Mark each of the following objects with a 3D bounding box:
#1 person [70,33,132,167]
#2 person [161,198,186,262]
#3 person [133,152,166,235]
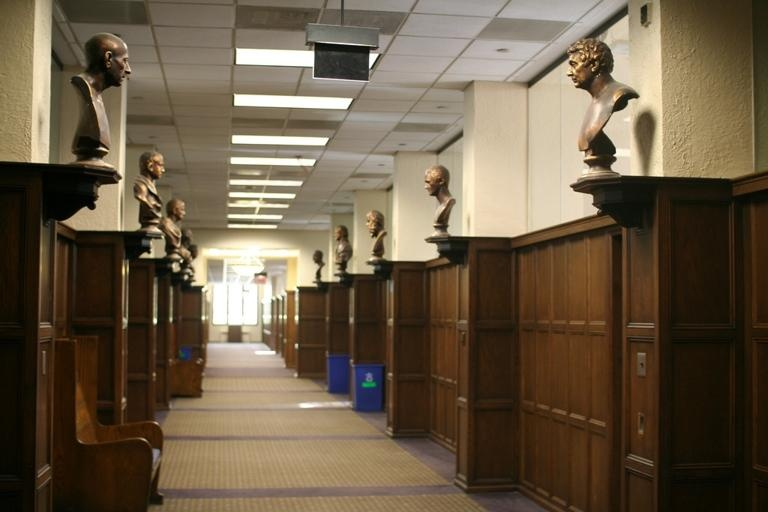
[{"bbox_3d":[-2.408,-1.350,6.029,0.441,0.875,0.429,4,-3,-22],"label":"person"},{"bbox_3d":[-3.290,-0.446,11.110,0.330,0.664,1.007,4,-3,-16],"label":"person"},{"bbox_3d":[-2.975,-0.849,9.046,0.319,0.722,1.004,4,-3,-17],"label":"person"}]
